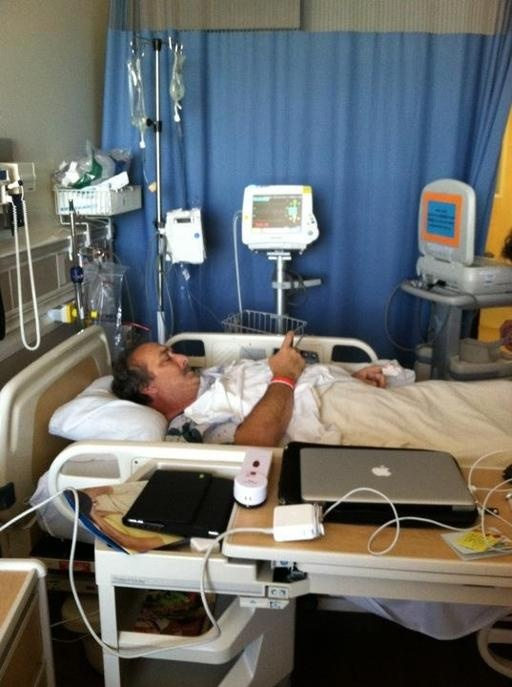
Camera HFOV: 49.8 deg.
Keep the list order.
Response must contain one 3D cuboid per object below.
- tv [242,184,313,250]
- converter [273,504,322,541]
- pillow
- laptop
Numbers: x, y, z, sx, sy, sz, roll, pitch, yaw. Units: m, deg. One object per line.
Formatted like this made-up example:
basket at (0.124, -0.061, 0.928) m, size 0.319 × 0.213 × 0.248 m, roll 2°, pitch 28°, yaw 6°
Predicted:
tv at (0.122, -0.647, 2.768) m, size 0.370 × 0.308 × 0.059 m, roll 2°, pitch 8°, yaw 7°
converter at (0.062, 0.280, 0.871) m, size 0.064 × 0.027 × 0.048 m, roll -5°, pitch 22°, yaw 5°
pillow at (-0.388, 0.159, 1.577) m, size 0.275 × 0.146 × 0.379 m, roll 4°, pitch 18°, yaw 12°
laptop at (0.227, 0.238, 1.003) m, size 0.291 × 0.038 × 0.201 m, roll 2°, pitch 9°, yaw 3°
